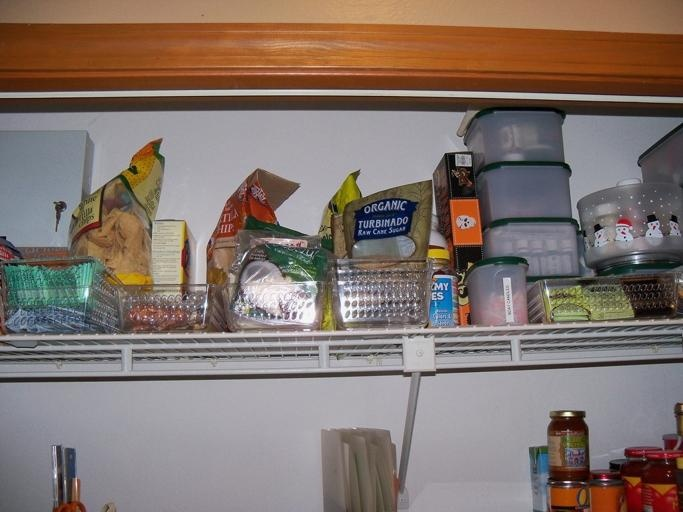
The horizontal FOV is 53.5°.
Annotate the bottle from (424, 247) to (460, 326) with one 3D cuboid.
[{"bbox_3d":[0.236,0.073,1.591,0.062,0.193,0.106,-4,-7,15],"label":"bottle"}]
